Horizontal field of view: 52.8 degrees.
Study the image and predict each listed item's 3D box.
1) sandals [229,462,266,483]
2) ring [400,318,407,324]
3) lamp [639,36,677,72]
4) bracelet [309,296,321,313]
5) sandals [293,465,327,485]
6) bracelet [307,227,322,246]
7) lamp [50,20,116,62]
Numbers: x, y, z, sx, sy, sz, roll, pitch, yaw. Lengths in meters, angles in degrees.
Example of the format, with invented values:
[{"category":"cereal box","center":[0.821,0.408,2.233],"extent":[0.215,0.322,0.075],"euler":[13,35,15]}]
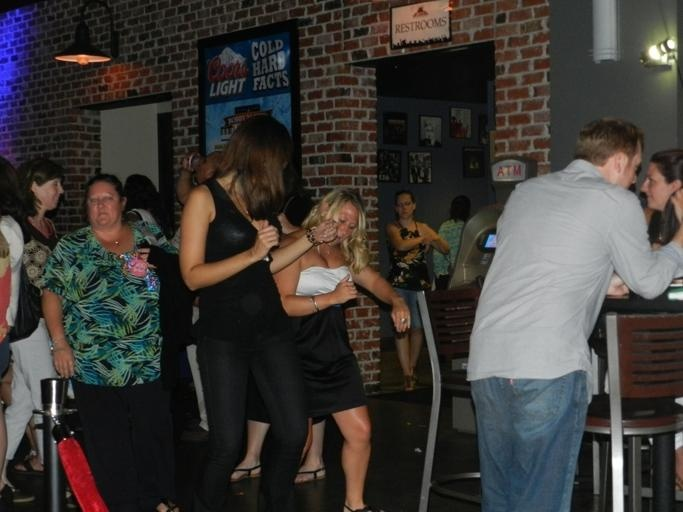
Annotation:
[{"category":"sandals","center":[-0.624,1.449,4.627],"extent":[0.321,0.113,0.126],"euler":[3,-3,-38]},{"category":"ring","center":[0.322,0.336,3.568],"extent":[0.029,0.025,0.010],"euler":[-1,12,-2]},{"category":"lamp","center":[2.316,-1.469,5.054],"extent":[0.254,0.177,0.102],"euler":[-13,-2,17]},{"category":"bracelet","center":[-0.138,0.250,3.597],"extent":[0.028,0.067,0.059],"euler":[-11,15,-6]},{"category":"sandals","center":[-0.200,1.453,4.573],"extent":[0.243,0.083,0.093],"euler":[2,-3,-37]},{"category":"bracelet","center":[-0.118,-0.084,3.077],"extent":[0.028,0.068,0.070],"euler":[-8,21,-16]},{"category":"lamp","center":[-2.863,-2.227,7.469],"extent":[0.611,0.518,0.600],"euler":[-1,11,3]}]
